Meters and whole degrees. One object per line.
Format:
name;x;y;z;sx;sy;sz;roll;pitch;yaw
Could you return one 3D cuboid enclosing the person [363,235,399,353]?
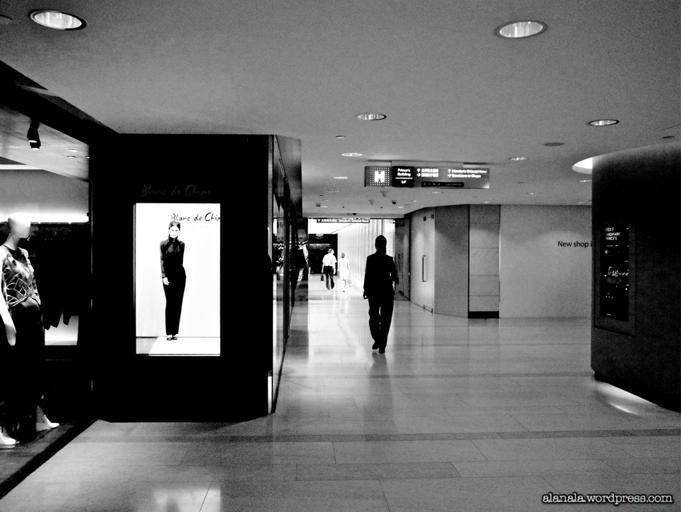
person;0.718;0.659;9.827;0.591;2.036;0.653;1;4;4
